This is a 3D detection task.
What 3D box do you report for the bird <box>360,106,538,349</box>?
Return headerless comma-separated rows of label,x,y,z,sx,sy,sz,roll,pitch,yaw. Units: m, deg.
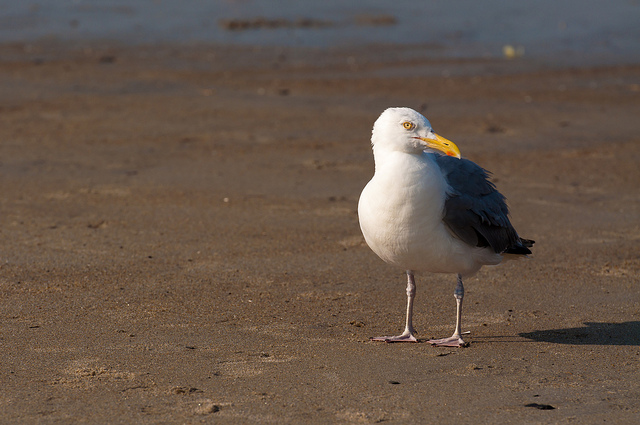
bird,1.269,0.162,12.090,1.713,2.592,0.952,0,19,-8
